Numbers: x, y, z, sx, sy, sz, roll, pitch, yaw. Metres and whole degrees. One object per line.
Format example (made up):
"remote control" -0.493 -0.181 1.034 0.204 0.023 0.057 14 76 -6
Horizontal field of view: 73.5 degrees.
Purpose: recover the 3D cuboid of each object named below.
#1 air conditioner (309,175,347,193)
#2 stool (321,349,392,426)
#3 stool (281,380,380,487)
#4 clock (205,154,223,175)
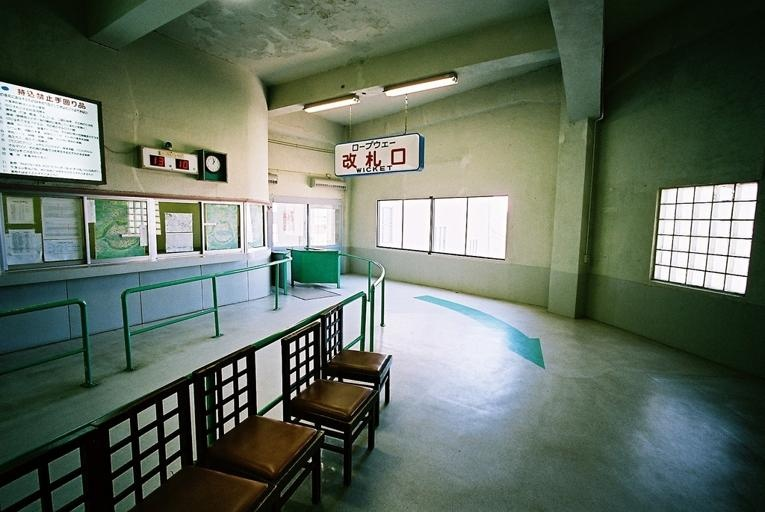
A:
"air conditioner" -1.304 -1.781 12.435 0.244 0.317 1.308 3 4 31
"stool" -0.406 1.503 6.240 0.896 0.839 0.853 3 2 19
"stool" -0.680 1.896 5.869 1.072 0.914 1.031 5 7 23
"clock" -2.897 -1.572 8.701 0.042 0.287 0.256 3 4 28
